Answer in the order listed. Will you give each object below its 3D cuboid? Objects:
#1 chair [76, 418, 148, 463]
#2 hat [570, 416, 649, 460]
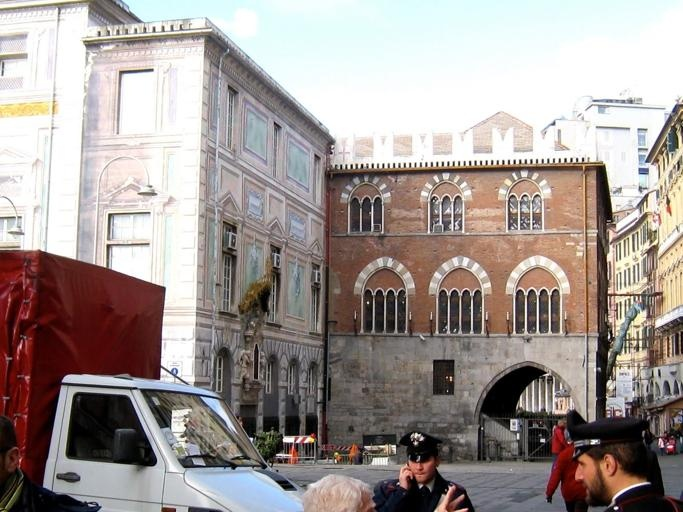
[{"bbox_3d":[-2.730,2.125,11.149,0.746,0.490,0.468,1,-4,2],"label":"chair"},{"bbox_3d":[1.984,1.286,7.096,0.626,0.355,0.574,-7,-12,1],"label":"hat"}]
